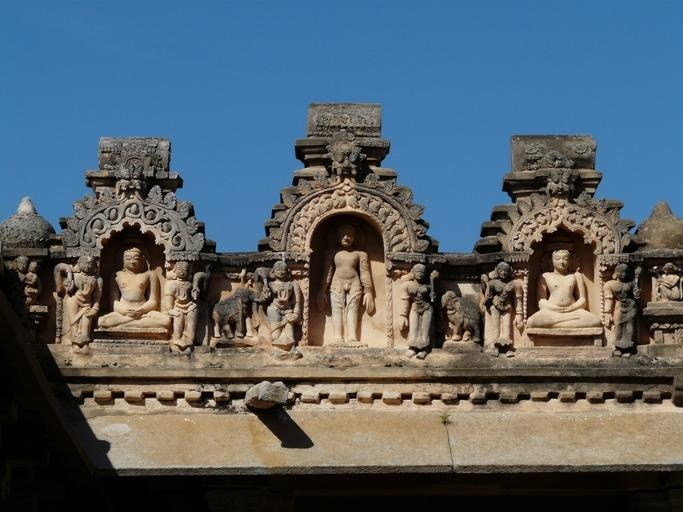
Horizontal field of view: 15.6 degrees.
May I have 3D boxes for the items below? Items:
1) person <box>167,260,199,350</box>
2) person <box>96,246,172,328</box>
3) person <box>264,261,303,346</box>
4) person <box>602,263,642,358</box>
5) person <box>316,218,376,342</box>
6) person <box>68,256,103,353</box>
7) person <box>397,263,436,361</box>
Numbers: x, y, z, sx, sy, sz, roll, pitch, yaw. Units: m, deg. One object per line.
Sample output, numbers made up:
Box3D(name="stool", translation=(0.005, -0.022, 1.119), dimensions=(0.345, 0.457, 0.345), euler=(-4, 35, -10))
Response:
Box3D(name="person", translation=(-2.336, 0.768, 36.717), dimensions=(0.452, 1.335, 0.272), euler=(1, -2, -4))
Box3D(name="person", translation=(-3.075, 0.511, 36.884), dimensions=(1.084, 1.203, 0.654), euler=(1, 7, -9))
Box3D(name="person", translation=(-0.825, 0.757, 36.679), dimensions=(0.520, 1.311, 0.302), euler=(1, -2, -3))
Box3D(name="person", translation=(4.115, 0.816, 36.698), dimensions=(0.524, 1.373, 0.321), euler=(1, -2, 6))
Box3D(name="person", translation=(0.062, 0.422, 37.070), dimensions=(0.827, 1.875, 0.563), euler=(0, 0, 1))
Box3D(name="person", translation=(-3.792, 0.731, 36.655), dimensions=(0.526, 1.403, 0.320), euler=(1, -2, -5))
Box3D(name="person", translation=(1.107, 0.830, 36.724), dimensions=(0.517, 1.403, 0.418), euler=(1, -2, 8))
